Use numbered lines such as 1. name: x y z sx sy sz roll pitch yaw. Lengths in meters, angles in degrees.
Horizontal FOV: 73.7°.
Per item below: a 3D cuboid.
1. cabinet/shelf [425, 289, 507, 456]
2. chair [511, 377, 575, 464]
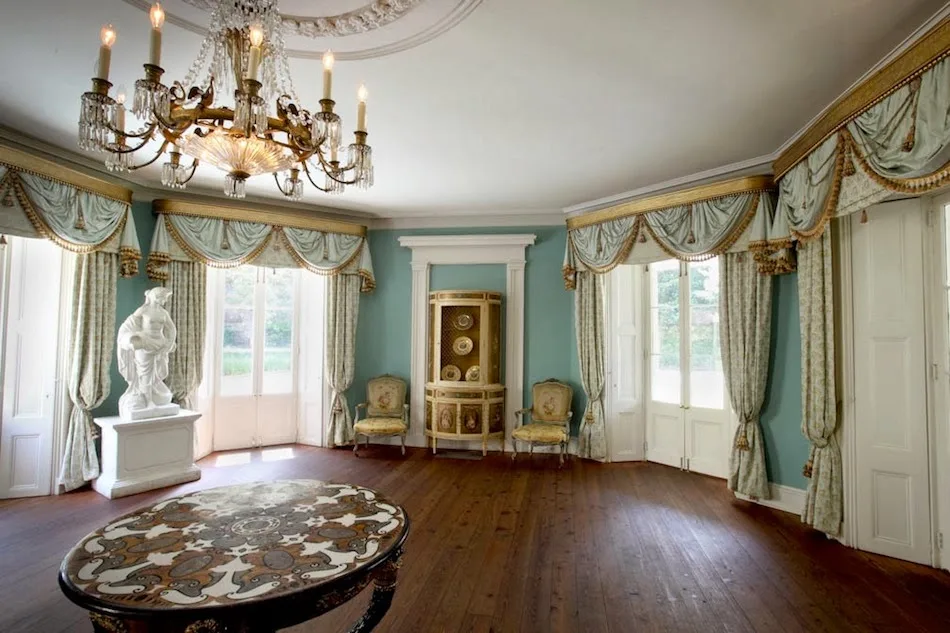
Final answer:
1. cabinet/shelf: -0.120 0.686 8.265 1.042 2.004 0.829 1 14 2
2. chair: 0.865 1.352 8.077 0.746 0.917 0.798 2 14 7
